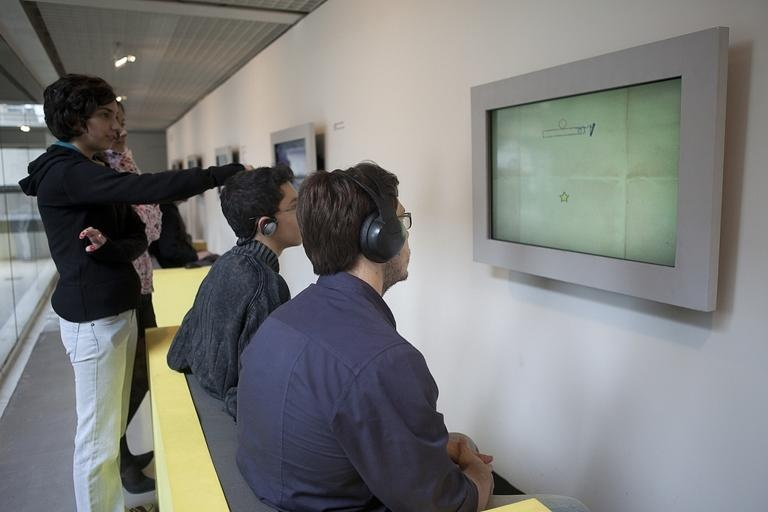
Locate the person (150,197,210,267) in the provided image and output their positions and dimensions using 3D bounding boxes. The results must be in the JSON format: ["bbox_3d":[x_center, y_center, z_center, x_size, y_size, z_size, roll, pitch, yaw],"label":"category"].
[{"bbox_3d":[-2.112,-0.489,5.532,0.525,1.006,1.044,-6,15,-20],"label":"person"}]

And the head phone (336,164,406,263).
[{"bbox_3d":[-0.080,-0.147,1.861,0.142,0.339,0.357,-18,10,-27],"label":"head phone"}]

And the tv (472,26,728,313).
[{"bbox_3d":[0.795,-0.322,1.926,0.086,0.997,1.113,-6,7,-39],"label":"tv"}]

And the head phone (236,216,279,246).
[{"bbox_3d":[-0.529,-0.108,2.246,0.139,0.063,0.111,-26,14,-15],"label":"head phone"}]
